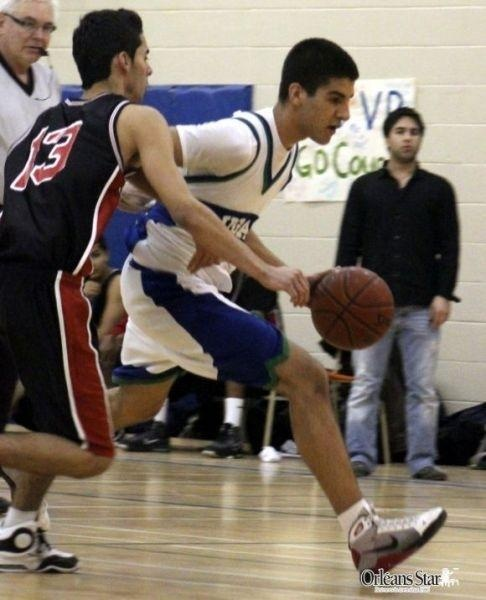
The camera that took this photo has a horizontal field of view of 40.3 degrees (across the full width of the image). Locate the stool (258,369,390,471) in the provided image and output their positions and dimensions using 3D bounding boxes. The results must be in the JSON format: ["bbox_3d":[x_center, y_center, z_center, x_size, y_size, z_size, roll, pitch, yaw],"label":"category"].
[{"bbox_3d":[0.465,0.742,4.012,1.046,0.638,0.709,2,-13,-9],"label":"stool"}]

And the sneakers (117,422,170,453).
[{"bbox_3d":[-0.637,0.842,4.052,0.347,0.193,0.142,8,-22,1],"label":"sneakers"}]
